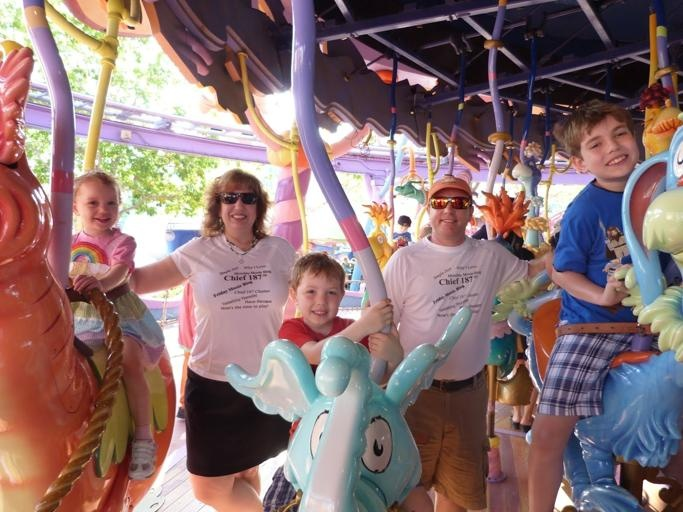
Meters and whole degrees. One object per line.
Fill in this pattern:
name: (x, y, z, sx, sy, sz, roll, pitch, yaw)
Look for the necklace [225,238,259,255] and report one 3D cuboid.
necklace: (-0.544, -0.029, 2.642, 0.095, 0.029, 0.115, -3, 44, -19)
